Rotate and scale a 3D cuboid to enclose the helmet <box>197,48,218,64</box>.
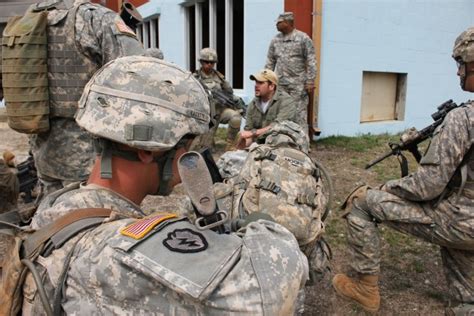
[{"bbox_3d":[-0.580,-2.033,9.228,0.286,0.300,0.332,3,10,-9],"label":"helmet"}]

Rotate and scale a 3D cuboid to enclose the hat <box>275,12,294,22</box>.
[{"bbox_3d":[0.883,-2.635,8.583,0.266,0.143,0.208,1,21,12],"label":"hat"}]

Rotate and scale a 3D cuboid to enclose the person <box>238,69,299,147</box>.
[{"bbox_3d":[0.499,-0.825,8.152,0.971,1.494,1.070,7,16,32],"label":"person"}]

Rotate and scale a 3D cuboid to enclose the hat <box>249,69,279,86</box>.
[{"bbox_3d":[0.471,-1.408,7.909,0.440,0.240,0.303,13,9,-25],"label":"hat"}]

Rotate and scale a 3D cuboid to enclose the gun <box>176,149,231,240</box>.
[{"bbox_3d":[-0.275,0.247,3.501,0.619,0.411,0.194,43,-7,-7],"label":"gun"}]

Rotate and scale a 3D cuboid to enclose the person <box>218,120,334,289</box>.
[{"bbox_3d":[0.317,0.345,5.640,1.415,0.918,2.006,14,1,-20],"label":"person"}]

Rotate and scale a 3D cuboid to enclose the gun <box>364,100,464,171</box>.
[{"bbox_3d":[2.686,-0.373,7.401,1.686,0.915,0.322,-35,16,30],"label":"gun"}]

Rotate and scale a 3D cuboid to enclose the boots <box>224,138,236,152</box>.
[{"bbox_3d":[-0.121,-0.285,9.351,0.292,0.336,0.162,-5,12,-15],"label":"boots"}]
